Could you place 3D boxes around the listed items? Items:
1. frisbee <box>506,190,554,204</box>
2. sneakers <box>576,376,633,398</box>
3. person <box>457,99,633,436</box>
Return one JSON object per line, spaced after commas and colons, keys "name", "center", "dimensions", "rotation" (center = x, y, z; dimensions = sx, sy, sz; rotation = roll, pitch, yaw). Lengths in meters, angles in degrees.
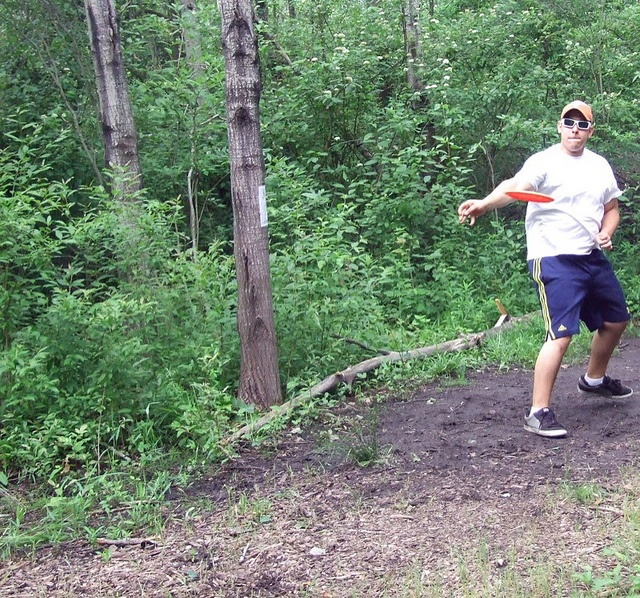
{"name": "frisbee", "center": [1.426, -0.693, 5.801], "dimensions": [0.316, 0.099, 0.158], "rotation": [10, 26, 26]}
{"name": "sneakers", "center": [2.196, 0.668, 6.595], "dimensions": [0.449, 0.182, 0.163], "rotation": [6, 2, -3]}
{"name": "person", "center": [1.768, -0.220, 6.080], "dimensions": [1.061, 2.199, 0.811], "rotation": [-18, 27, -33]}
